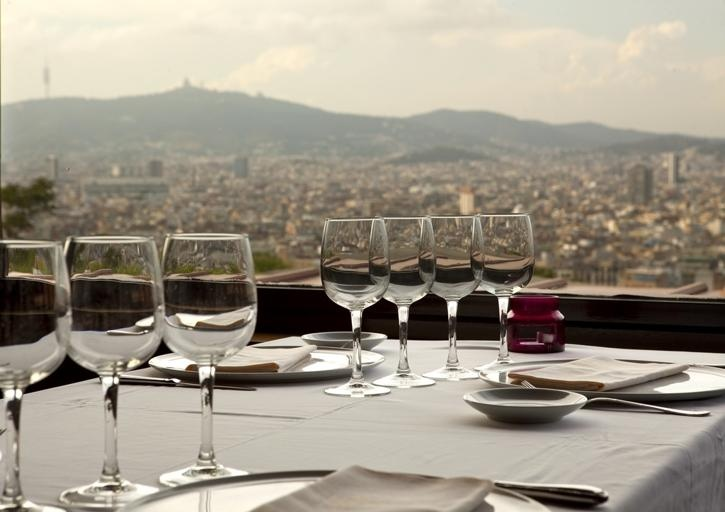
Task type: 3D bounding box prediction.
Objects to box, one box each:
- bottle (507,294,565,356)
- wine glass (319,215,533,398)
[{"bbox_3d":[0.388,0.155,2.155,0.130,0.121,0.131,0,1,33],"label":"bottle"},{"bbox_3d":[0.145,0.101,1.924,0.104,0.250,0.400,2,3,44],"label":"wine glass"}]
